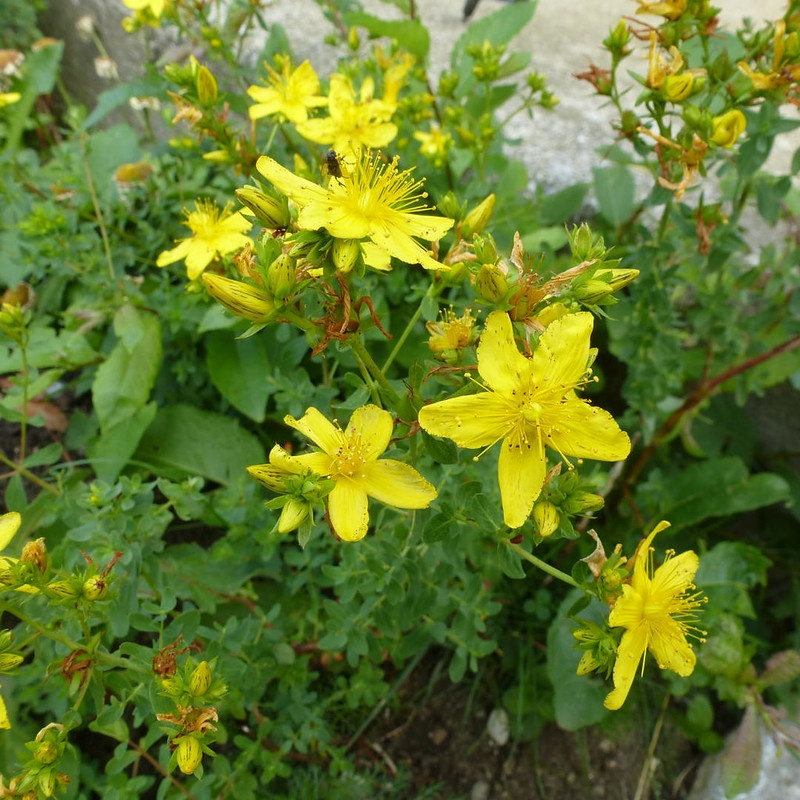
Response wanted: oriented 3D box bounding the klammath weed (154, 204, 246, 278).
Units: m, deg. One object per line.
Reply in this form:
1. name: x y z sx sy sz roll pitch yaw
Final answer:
1. klammath weed: -0.416 -0.327 1.692 0.186 0.165 0.142 -2 49 -14

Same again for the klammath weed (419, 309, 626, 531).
1. klammath weed: 0.218 0.019 1.273 0.281 0.255 0.264 34 50 19

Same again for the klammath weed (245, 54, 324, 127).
1. klammath weed: -0.243 -0.671 1.721 0.161 0.119 0.169 0 47 -12

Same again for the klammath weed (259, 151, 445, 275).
1. klammath weed: -0.064 -0.301 1.287 0.267 0.104 0.248 23 31 -25

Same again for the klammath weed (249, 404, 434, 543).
1. klammath weed: -0.079 0.104 1.315 0.261 0.078 0.232 28 38 -9
